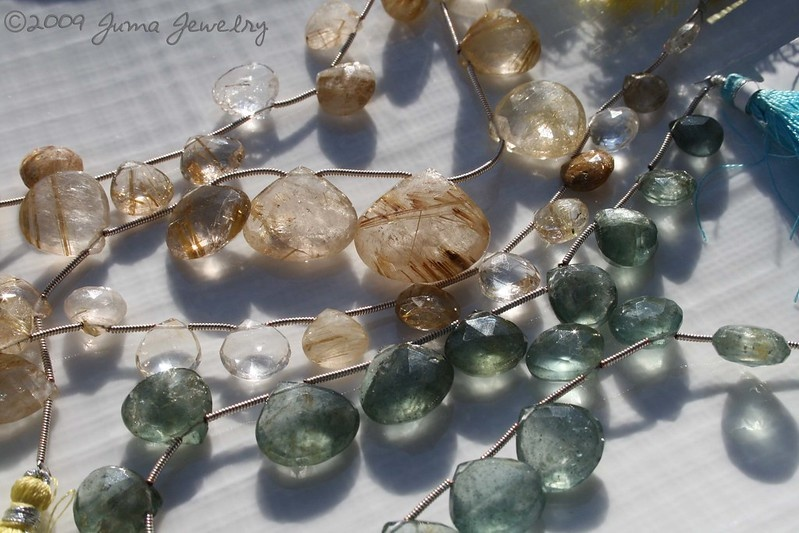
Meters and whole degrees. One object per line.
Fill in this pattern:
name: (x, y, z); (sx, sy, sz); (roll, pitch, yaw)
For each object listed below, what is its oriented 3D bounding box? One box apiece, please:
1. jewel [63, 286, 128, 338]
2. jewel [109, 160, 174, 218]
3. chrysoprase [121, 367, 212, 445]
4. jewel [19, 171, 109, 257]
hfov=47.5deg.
jewel: (-0.525, 0.080, 1.563); (0.084, 0.087, 0.083); (1, 85, -5)
jewel: (-0.478, -0.127, 1.694); (0.093, 0.057, 0.103); (-39, 85, -9)
chrysoprase: (-0.381, 0.232, 1.489); (0.142, 0.073, 0.109); (-2, 56, -1)
jewel: (-0.607, -0.096, 1.643); (0.146, 0.081, 0.130); (-1, 56, 0)
